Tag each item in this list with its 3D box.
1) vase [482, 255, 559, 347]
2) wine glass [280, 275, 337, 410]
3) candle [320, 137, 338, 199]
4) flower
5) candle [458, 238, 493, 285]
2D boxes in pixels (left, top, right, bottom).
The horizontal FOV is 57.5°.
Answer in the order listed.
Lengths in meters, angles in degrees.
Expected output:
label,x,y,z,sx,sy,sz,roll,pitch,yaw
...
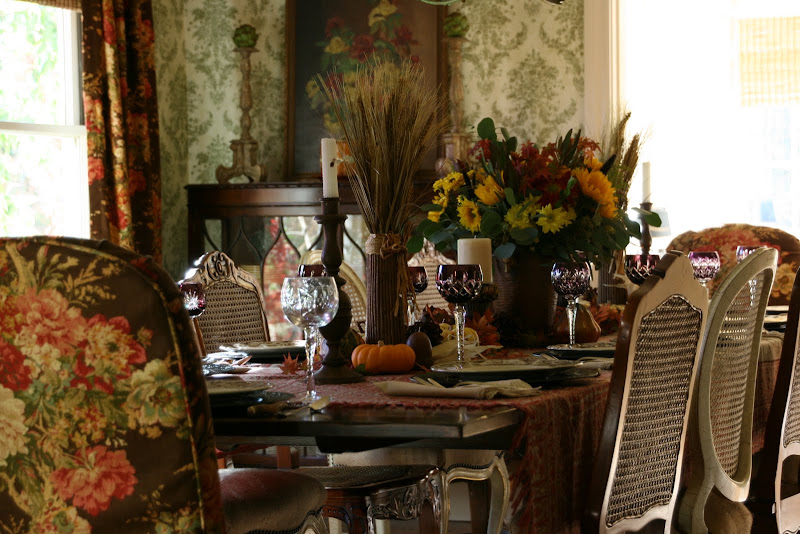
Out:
label,x,y,z,sx,sy,sz,roll,pitch,yaw
vase,0.432,0.129,2.551,0.232,0.323,0.202,3,-14,1
wine glass,-0.215,0.173,1.745,0.131,0.319,0.130,-2,12,-14
candle,-0.196,-0.267,2.005,0.043,0.168,0.100,-3,4,-7
flower,0.525,-0.274,2.583,0.654,0.409,0.668,10,10,28
candle,0.239,-0.010,2.289,0.123,0.150,0.129,1,-5,6
